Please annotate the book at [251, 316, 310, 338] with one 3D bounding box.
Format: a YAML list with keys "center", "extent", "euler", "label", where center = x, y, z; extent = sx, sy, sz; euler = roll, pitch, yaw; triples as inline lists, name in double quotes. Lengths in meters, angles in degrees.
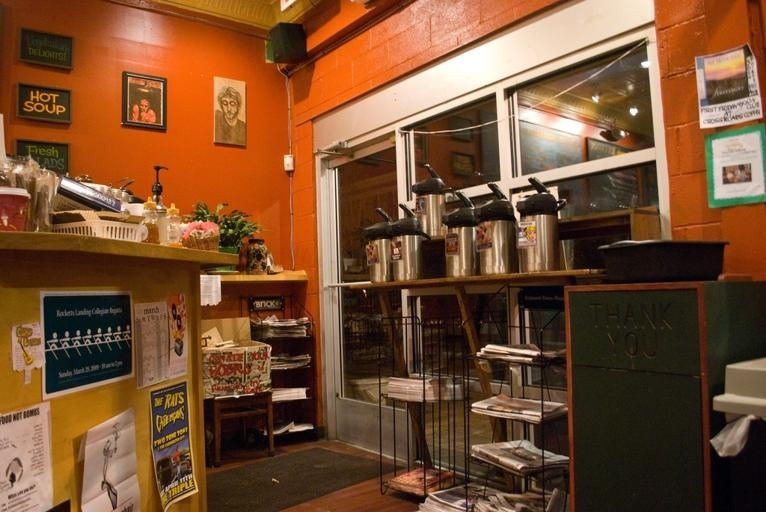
- center: [-0.910, 0.645, 5.412]
  extent: [0.538, 0.210, 0.242]
  euler: [-3, -4, -10]
  label: "book"

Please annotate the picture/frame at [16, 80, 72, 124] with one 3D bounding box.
- center: [-2.702, -1.224, 4.760]
  extent: [0.384, 0.280, 0.041]
  euler: [2, -6, -37]
  label: "picture/frame"

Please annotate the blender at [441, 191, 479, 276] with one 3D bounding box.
- center: [0.475, -0.090, 3.643]
  extent: [0.194, 0.409, 0.126]
  euler: [-4, -4, 6]
  label: "blender"

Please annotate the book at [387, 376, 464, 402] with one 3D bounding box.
- center: [0.269, 0.863, 3.904]
  extent: [0.498, 0.166, 0.288]
  euler: [-4, -4, 3]
  label: "book"

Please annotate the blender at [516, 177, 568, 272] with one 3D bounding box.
- center: [0.862, -0.133, 3.288]
  extent: [0.265, 0.425, 0.147]
  euler: [-5, -4, 16]
  label: "blender"

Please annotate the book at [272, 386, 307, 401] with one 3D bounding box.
- center: [-0.819, 1.212, 5.259]
  extent: [0.333, 0.105, 0.159]
  euler: [-2, -4, -23]
  label: "book"

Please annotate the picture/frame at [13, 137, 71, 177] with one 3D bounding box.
- center: [-2.673, -0.744, 4.746]
  extent: [0.379, 0.348, 0.035]
  euler: [-1, -11, -27]
  label: "picture/frame"

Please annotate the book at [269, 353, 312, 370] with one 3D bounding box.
- center: [-0.810, 0.940, 5.312]
  extent: [0.402, 0.141, 0.139]
  euler: [-1, -5, -36]
  label: "book"

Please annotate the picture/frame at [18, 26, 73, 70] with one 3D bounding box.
- center: [-2.698, -1.662, 4.777]
  extent: [0.410, 0.333, 0.030]
  euler: [2, -4, -36]
  label: "picture/frame"

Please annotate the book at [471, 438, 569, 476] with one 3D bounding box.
- center: [0.728, 1.109, 3.315]
  extent: [0.264, 0.062, 0.261]
  euler: [4, -3, -39]
  label: "book"

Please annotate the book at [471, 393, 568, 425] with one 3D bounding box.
- center: [0.760, 0.858, 3.358]
  extent: [0.491, 0.128, 0.263]
  euler: [-7, -5, 43]
  label: "book"

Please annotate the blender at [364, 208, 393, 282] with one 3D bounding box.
- center: [-0.010, -0.071, 4.121]
  extent: [0.230, 0.508, 0.215]
  euler: [-9, -3, 2]
  label: "blender"

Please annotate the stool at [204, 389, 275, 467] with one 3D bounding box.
- center: [-1.200, 1.360, 5.053]
  extent: [0.609, 0.564, 0.537]
  euler: [-1, -2, -26]
  label: "stool"

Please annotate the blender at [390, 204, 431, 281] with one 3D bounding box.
- center: [0.167, -0.047, 3.898]
  extent: [0.203, 0.412, 0.201]
  euler: [0, -5, -42]
  label: "blender"

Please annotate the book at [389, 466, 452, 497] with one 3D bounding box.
- center: [0.275, 1.500, 4.007]
  extent: [0.279, 0.073, 0.276]
  euler: [-3, 1, -45]
  label: "book"

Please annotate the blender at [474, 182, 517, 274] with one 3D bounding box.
- center: [0.653, -0.170, 3.544]
  extent: [0.293, 0.534, 0.259]
  euler: [-1, -1, -40]
  label: "blender"
